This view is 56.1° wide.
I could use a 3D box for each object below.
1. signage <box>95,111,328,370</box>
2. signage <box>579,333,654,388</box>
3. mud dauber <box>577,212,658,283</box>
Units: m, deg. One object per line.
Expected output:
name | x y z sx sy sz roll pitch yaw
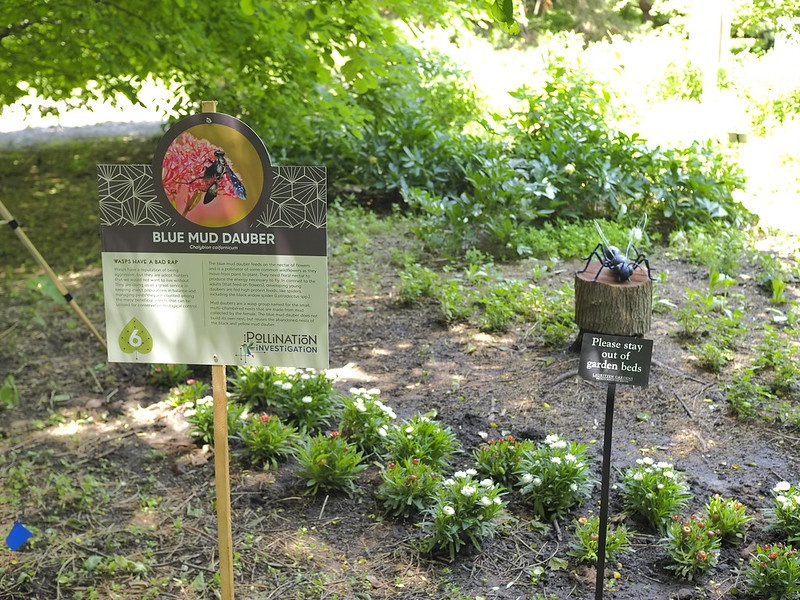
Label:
signage | -1.121 -0.356 4.486 1.398 1.514 0.146 2 6 4
signage | 1.395 0.381 4.828 0.493 0.344 0.005 5 10 21
mud dauber | 1.796 -0.386 6.307 0.550 0.324 0.724 12 -5 16
